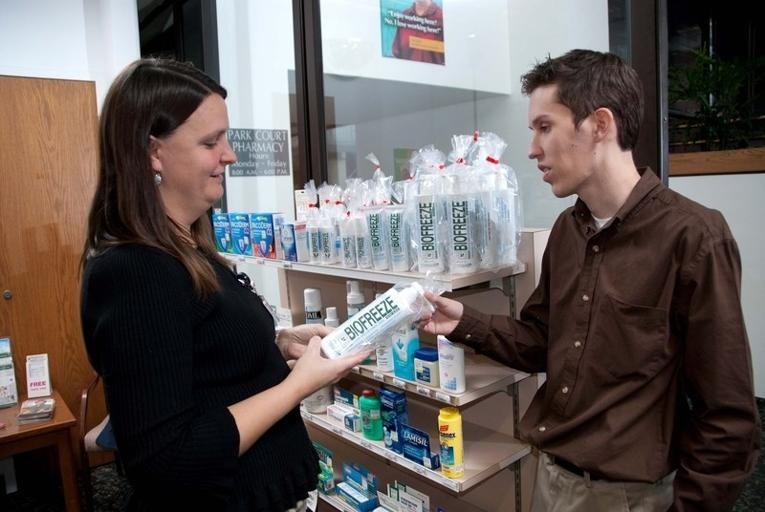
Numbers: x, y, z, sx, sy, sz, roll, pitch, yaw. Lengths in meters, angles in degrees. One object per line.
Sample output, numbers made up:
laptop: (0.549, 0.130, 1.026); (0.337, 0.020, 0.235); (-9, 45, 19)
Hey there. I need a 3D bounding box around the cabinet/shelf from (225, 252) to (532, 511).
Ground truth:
cabinet/shelf: (0.047, 0.555, 2.292); (1.418, 0.916, 0.458); (3, 5, 44)
